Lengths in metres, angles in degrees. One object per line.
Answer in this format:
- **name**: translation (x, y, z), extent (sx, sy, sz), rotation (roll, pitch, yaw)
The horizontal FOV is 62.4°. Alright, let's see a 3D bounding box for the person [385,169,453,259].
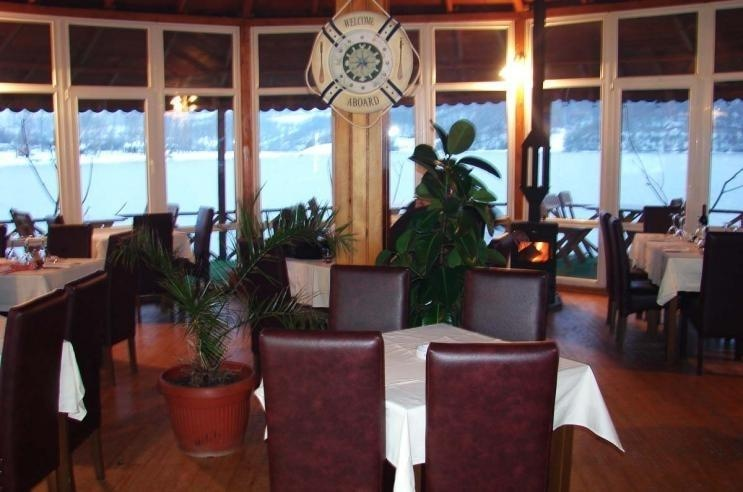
- **person**: translation (0.533, -0.291, 5.318), extent (0.312, 0.676, 0.882), rotation (-20, 17, -30)

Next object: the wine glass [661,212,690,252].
- **wine glass**: translation (3.260, -0.167, 6.587), extent (0.333, 0.390, 0.335), rotation (-14, 17, -37)
